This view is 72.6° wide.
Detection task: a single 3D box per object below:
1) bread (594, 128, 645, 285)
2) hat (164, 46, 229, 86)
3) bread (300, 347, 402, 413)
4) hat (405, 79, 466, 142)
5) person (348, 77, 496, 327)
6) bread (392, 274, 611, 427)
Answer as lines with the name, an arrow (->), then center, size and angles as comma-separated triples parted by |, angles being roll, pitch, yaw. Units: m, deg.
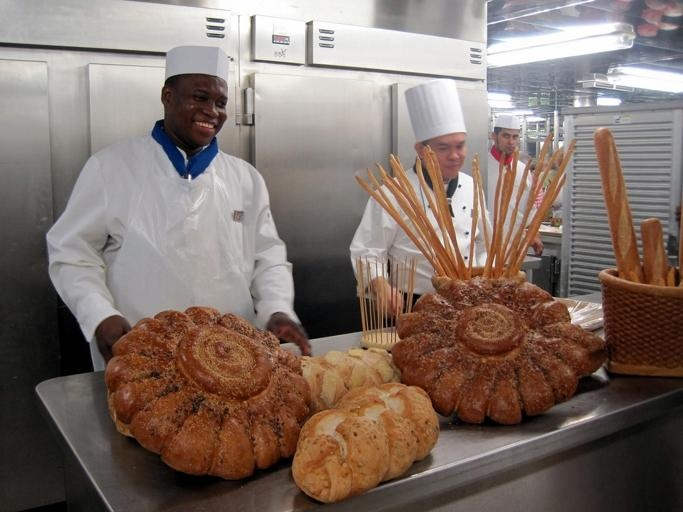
bread -> 0.637, -0.120, 1.061 | 0.119, 0.341, 0.176 | 6, 13, 32
hat -> -0.556, -0.749, 1.799 | 0.162, 0.072, 0.157 | -4, 12, -29
bread -> 0.026, 0.238, 0.953 | 0.168, 0.110, 0.305 | -4, -20, -25
hat -> 0.473, -0.726, 2.529 | 0.296, 0.355, 0.305 | -14, 6, -3
person -> 0.471, -0.242, 2.450 | 0.821, 1.349, 0.610 | -3, 15, -18
bread -> 0.266, 0.163, 0.811 | 0.271, 0.099, 0.256 | 20, 48, 34
